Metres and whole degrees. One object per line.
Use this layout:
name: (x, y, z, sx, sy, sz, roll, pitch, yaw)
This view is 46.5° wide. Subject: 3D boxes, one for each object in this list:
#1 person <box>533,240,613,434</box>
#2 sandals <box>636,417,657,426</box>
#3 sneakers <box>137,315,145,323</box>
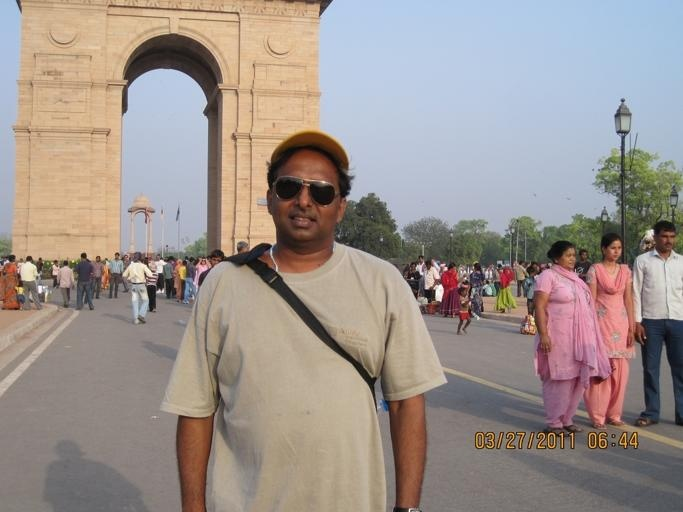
person: (2.459, 1.014, 8.606, 0.771, 1.616, 0.500, 2, 0, 16)
sandals: (3.480, 1.920, 9.057, 0.275, 0.126, 0.100, 13, -18, -30)
sneakers: (-4.883, 1.594, 19.520, 0.095, 0.121, 0.267, 16, -27, 36)
